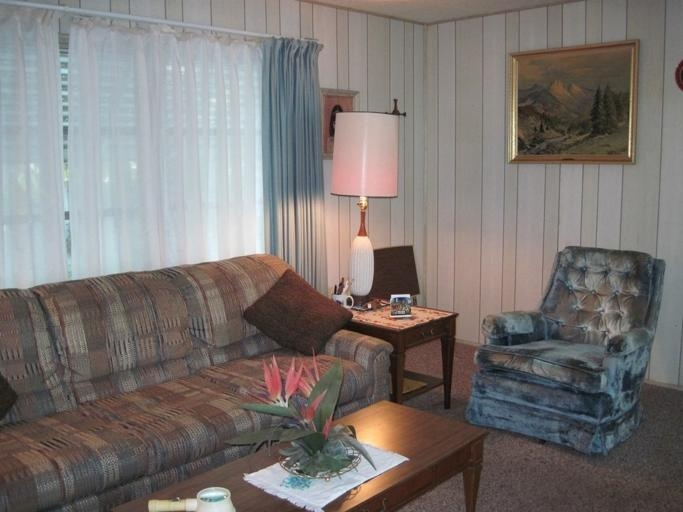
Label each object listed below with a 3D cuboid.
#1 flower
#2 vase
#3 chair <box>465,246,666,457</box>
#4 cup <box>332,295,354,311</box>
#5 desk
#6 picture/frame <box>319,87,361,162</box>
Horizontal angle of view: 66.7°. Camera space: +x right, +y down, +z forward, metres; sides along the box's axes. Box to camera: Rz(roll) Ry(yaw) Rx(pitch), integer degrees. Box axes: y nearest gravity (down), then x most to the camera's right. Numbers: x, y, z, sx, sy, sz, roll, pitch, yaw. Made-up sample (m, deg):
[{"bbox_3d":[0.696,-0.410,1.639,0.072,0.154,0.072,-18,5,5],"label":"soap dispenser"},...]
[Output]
[{"bbox_3d":[-0.081,0.669,2.015,0.433,0.348,0.519,-6,5,25],"label":"flower"},{"bbox_3d":[-0.065,0.780,2.052,0.241,0.082,0.236,-6,10,-30],"label":"vase"},{"bbox_3d":[1.560,0.561,3.603,1.015,1.150,0.991,6,12,35],"label":"chair"},{"bbox_3d":[0.012,0.324,3.852,0.146,0.145,0.087,3,-2,16],"label":"cup"},{"bbox_3d":[0.389,0.768,3.889,0.677,0.664,0.772,0,2,37],"label":"desk"},{"bbox_3d":[-0.029,-1.174,4.535,0.437,0.573,0.041,-12,18,-40],"label":"picture/frame"}]
